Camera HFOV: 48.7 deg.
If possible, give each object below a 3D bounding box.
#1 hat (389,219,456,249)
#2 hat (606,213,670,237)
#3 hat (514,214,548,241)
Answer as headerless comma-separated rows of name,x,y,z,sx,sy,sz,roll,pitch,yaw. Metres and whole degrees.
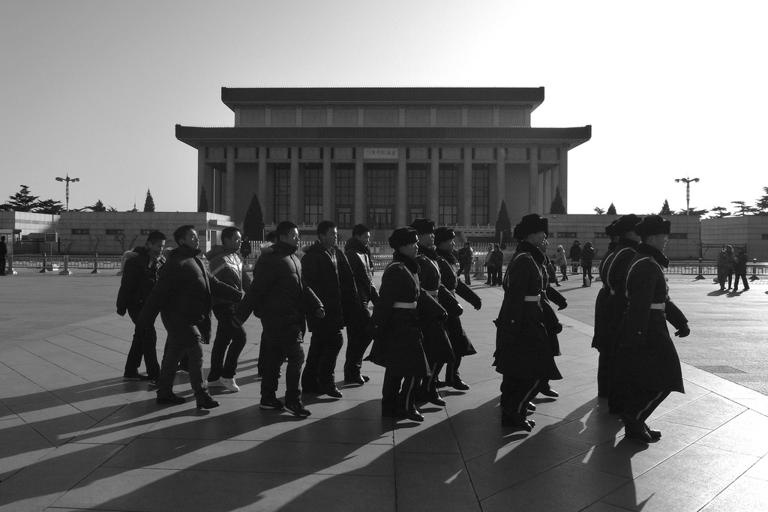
hat,0.560,-0.337,12.539,0.701,0.267,0.518,0,3,-17
hat,3.557,-0.404,11.526,1.013,0.393,0.712,-2,4,8
hat,2.051,-0.439,11.760,0.474,0.340,0.330,-10,9,3
